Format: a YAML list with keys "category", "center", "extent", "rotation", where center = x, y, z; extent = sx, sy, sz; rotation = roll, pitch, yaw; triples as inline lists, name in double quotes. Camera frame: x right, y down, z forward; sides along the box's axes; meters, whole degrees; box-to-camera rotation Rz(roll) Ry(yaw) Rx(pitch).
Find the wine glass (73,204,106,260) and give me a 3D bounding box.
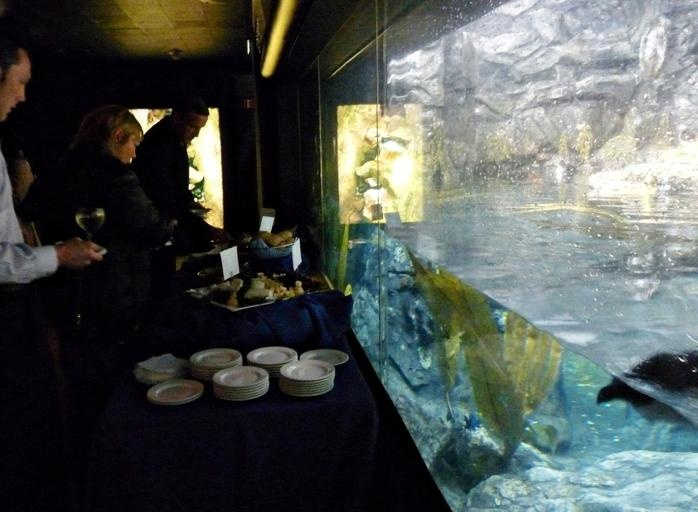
- category: "wine glass"
  center: [-0.963, -0.101, 1.860]
  extent: [0.144, 0.255, 0.141]
  rotation: [1, 0, -34]
